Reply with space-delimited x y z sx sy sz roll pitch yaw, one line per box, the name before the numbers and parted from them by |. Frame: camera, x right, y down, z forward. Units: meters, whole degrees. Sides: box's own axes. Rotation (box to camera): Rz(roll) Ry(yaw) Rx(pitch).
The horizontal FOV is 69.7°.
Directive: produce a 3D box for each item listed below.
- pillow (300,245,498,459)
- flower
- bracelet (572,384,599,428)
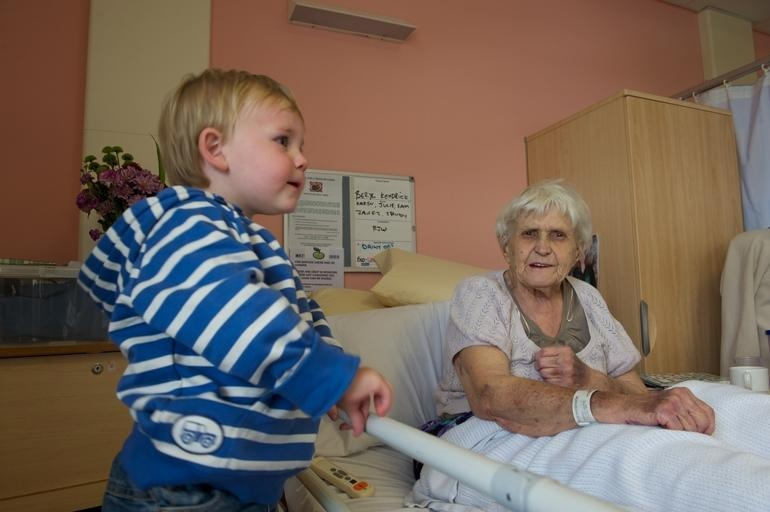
pillow | 0.033 0.333 2.417 0.562 0.899 0.356 11 -4 -20
flower | -1.240 -0.332 2.565 0.243 0.355 0.248 11 11 7
bracelet | 0.586 0.452 1.629 0.067 0.089 0.089 -1 -11 30
